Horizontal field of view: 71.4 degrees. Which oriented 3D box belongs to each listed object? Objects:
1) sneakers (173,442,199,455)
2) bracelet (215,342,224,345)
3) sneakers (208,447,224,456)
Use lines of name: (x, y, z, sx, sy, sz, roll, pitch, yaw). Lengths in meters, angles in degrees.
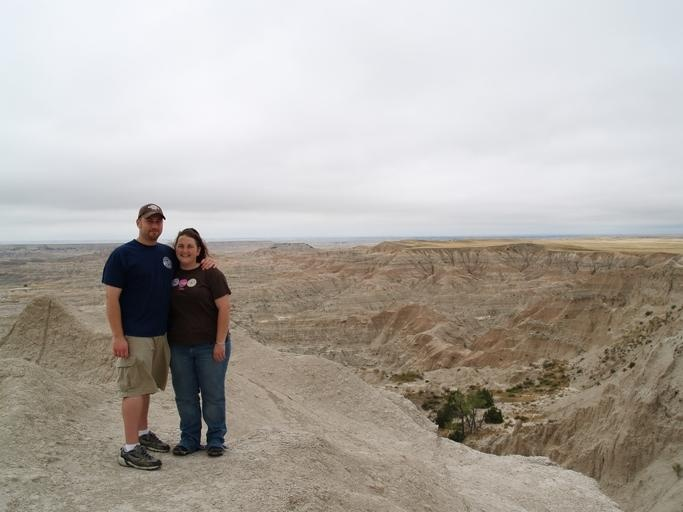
sneakers: (-2.882, 3.602, 8.886, 0.176, 0.182, 0.460, -6, -21, 39)
bracelet: (-2.190, 1.580, 8.617, 0.142, 0.044, 0.051, -2, 5, -12)
sneakers: (-2.371, 3.667, 8.980, 0.188, 0.089, 0.250, 3, -13, -13)
